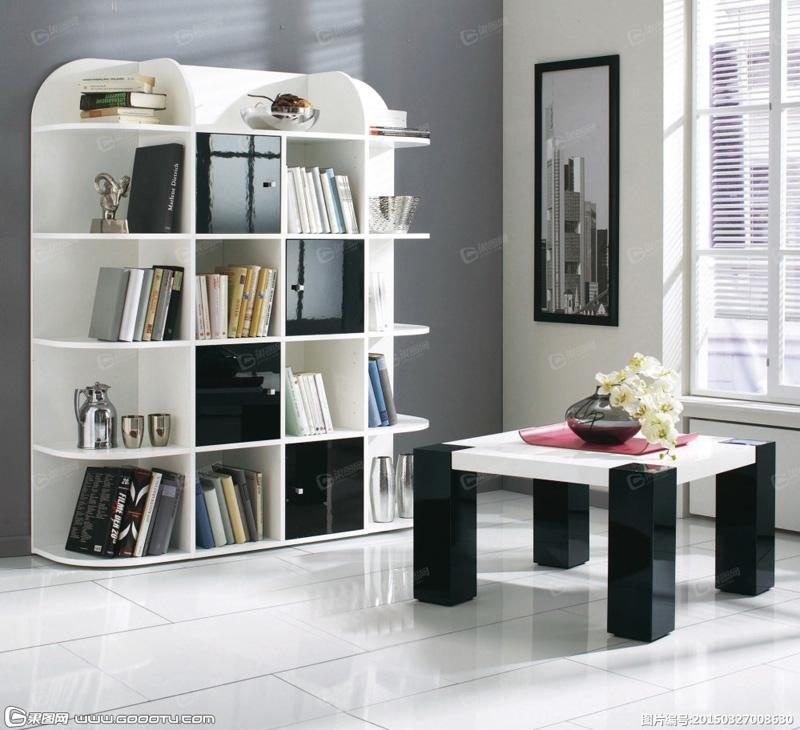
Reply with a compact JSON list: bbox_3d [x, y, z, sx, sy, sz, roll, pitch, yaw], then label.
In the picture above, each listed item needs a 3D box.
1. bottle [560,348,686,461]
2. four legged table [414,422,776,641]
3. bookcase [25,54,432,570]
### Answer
[{"bbox_3d":[0.827,0.158,3.155,0.417,0.287,0.464,0,-10,24],"label":"bottle"},{"bbox_3d":[0.678,0.444,3.135,0.975,0.526,0.917,0,1,40],"label":"four legged table"},{"bbox_3d":[-0.840,-0.318,4.013,1.759,2.107,0.717,-3,1,-33],"label":"bookcase"}]
